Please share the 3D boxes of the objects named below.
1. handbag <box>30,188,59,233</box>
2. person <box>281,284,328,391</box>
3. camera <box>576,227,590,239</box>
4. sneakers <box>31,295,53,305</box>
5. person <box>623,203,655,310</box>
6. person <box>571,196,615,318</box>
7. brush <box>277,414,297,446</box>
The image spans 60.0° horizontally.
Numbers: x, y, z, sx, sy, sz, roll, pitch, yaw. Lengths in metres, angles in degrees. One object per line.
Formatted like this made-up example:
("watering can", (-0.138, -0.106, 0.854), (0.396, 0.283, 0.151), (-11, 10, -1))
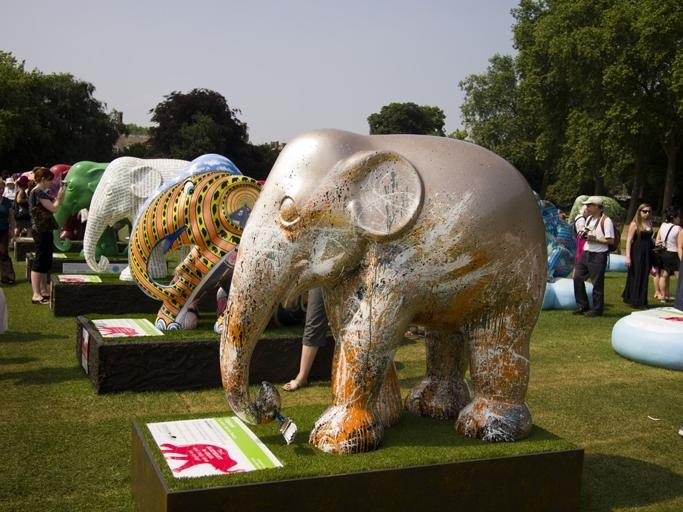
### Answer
("handbag", (-4.367, -0.676, 8.591), (0.504, 0.600, 0.308), (4, 12, 38))
("person", (-0.292, 0.768, 5.418), (0.518, 0.973, 0.283), (5, 7, 40))
("camera", (3.795, -0.353, 9.277), (0.156, 0.182, 0.512), (3, 7, 21))
("sneakers", (-4.496, 0.674, 8.905), (0.345, 0.134, 0.145), (0, 1, 35))
("person", (5.214, -0.027, 10.369), (0.451, 1.786, 0.896), (3, 6, 27))
("person", (3.971, 0.016, 9.318), (0.531, 1.859, 0.794), (2, 6, 17))
("brush", (-0.311, 0.994, 3.359), (0.081, 0.077, 0.142), (-36, 51, -9))
